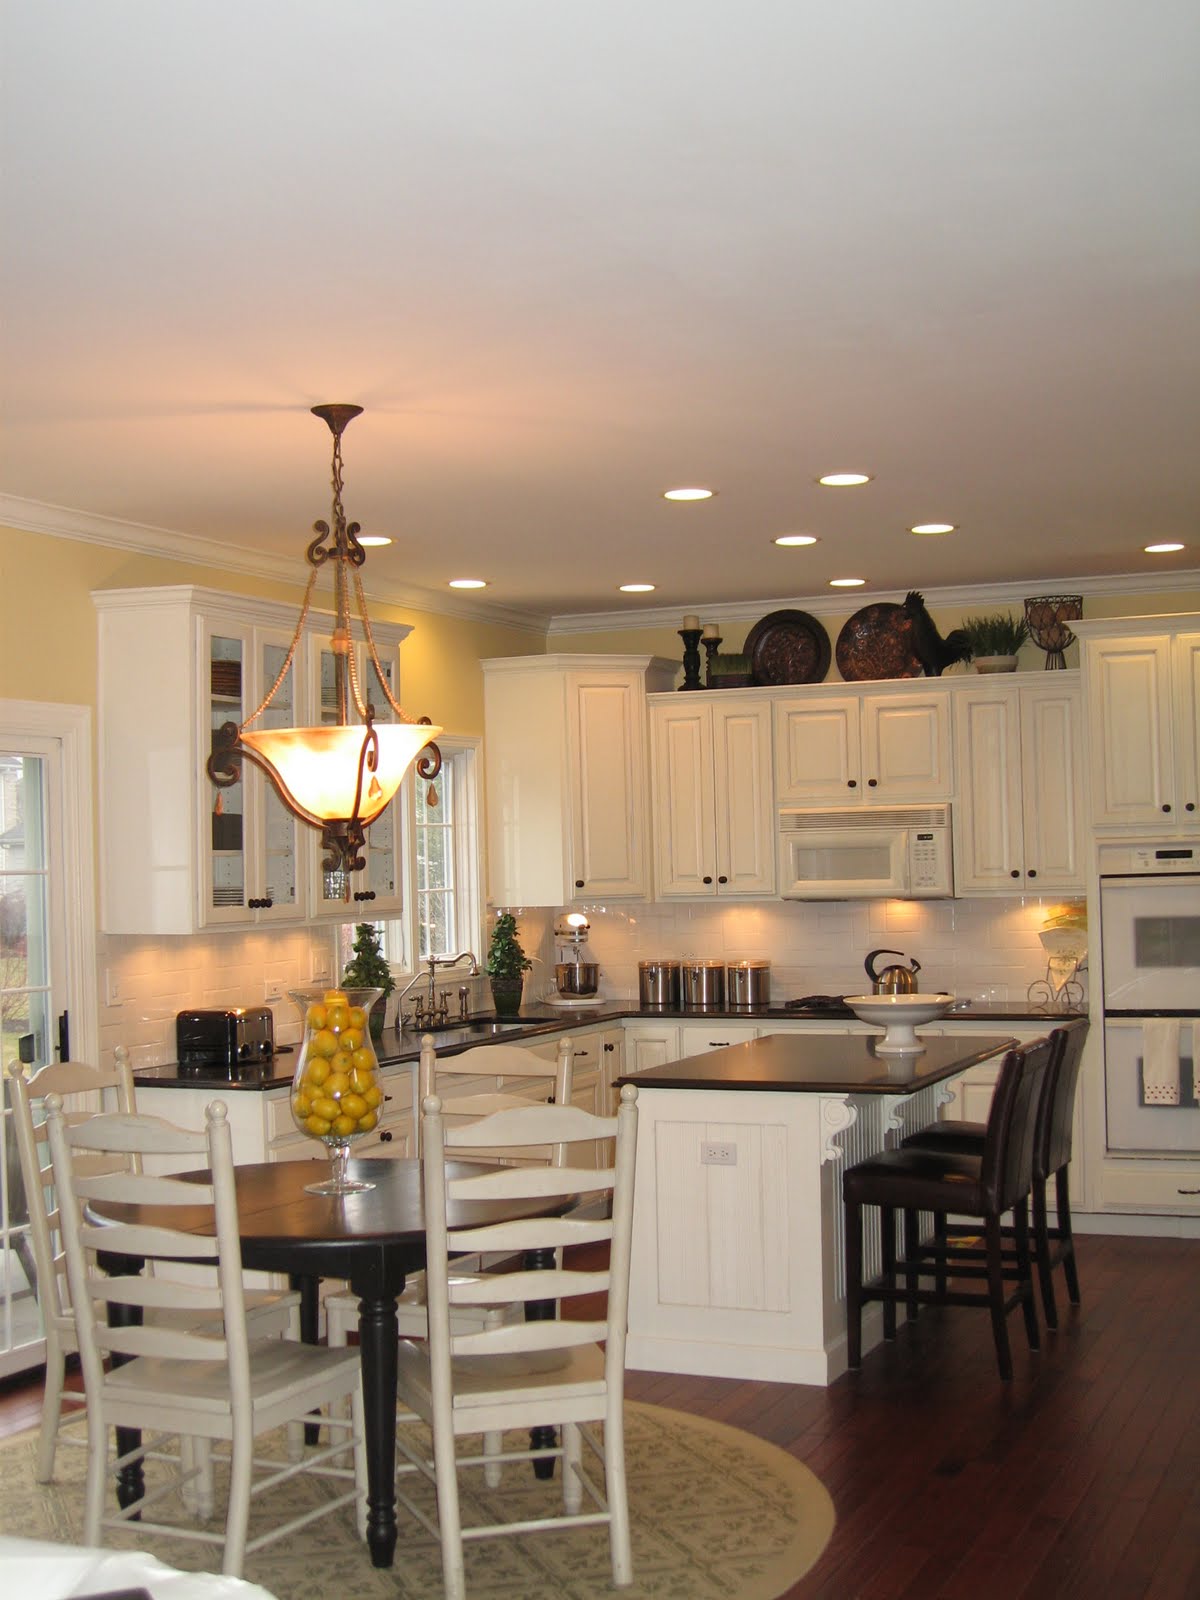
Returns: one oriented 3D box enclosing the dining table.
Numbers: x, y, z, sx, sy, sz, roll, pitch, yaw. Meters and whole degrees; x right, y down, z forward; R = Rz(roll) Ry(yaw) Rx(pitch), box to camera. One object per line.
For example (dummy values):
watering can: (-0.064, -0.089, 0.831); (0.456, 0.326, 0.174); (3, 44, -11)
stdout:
dining table: (-0.516, 1.077, 3.208); (0.958, 0.592, 0.937); (-3, -6, 32)

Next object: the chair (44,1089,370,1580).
chair: (-0.911, 1.198, 3.366); (0.709, 1.080, 1.673); (0, -7, -9)

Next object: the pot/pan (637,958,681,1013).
pot/pan: (0.292, 0.984, 7.581); (0.237, 0.207, 0.229); (0, -3, 27)

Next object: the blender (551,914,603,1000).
blender: (-0.121, 0.852, 7.781); (0.262, 0.468, 0.574); (-1, -7, -2)

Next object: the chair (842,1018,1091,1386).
chair: (1.241, 1.404, 4.861); (0.552, 0.929, 1.321); (0, -3, 22)

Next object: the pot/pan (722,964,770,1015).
pot/pan: (0.766, 0.991, 7.428); (0.245, 0.216, 0.234); (0, 1, -21)

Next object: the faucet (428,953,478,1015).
faucet: (-0.736, 0.916, 7.044); (0.127, 0.150, 0.333); (-2, -1, 14)

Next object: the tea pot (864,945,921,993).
tea pot: (1.483, 0.858, 7.224); (0.358, 0.276, 0.212); (0, 1, -14)

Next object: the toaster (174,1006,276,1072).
toaster: (-1.401, 0.887, 5.285); (0.226, 0.219, 0.377); (0, -2, 18)

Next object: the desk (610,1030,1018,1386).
desk: (0.888, 1.490, 5.316); (1.069, 0.884, 1.881); (-3, -10, 23)

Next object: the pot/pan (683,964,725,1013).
pot/pan: (0.544, 0.985, 7.502); (0.229, 0.213, 0.225); (0, -4, -7)
